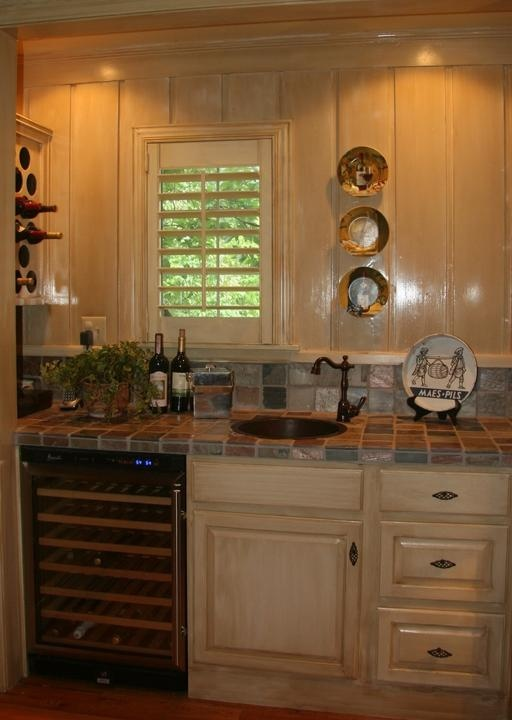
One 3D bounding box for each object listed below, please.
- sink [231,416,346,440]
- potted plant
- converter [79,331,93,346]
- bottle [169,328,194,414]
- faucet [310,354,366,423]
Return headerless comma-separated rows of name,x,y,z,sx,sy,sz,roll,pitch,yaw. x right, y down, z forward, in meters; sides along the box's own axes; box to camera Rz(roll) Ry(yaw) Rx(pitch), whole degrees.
sink,0.115,0.256,2.295,0.386,0.073,0.285,0,4,1
potted plant,-0.541,0.073,2.376,0.365,0.277,0.297,1,4,19
converter,-0.680,-0.089,2.609,0.022,0.053,0.064,1,3,5
bottle,-0.284,0.058,2.442,0.077,0.285,0.096,0,4,-6
faucet,0.308,0.099,2.408,0.190,0.239,0.250,1,4,10
